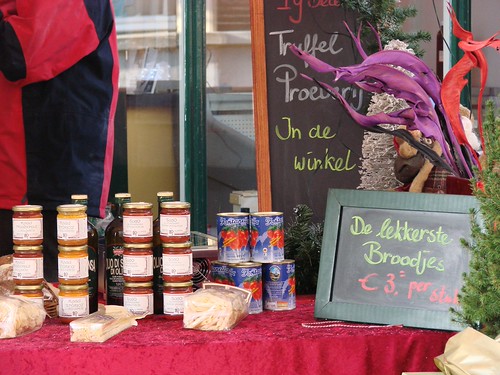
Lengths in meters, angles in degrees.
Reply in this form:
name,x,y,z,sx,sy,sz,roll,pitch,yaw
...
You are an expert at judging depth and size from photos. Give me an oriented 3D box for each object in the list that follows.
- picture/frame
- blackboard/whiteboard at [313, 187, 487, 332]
name,x,y,z,sx,sy,sz,roll,pitch,yaw
picture/frame,0.479,0.234,2.303,0.442,0.363,0.030,3,-7,15
blackboard/whiteboard,0.474,0.238,2.310,0.433,0.353,0.031,4,-7,14
